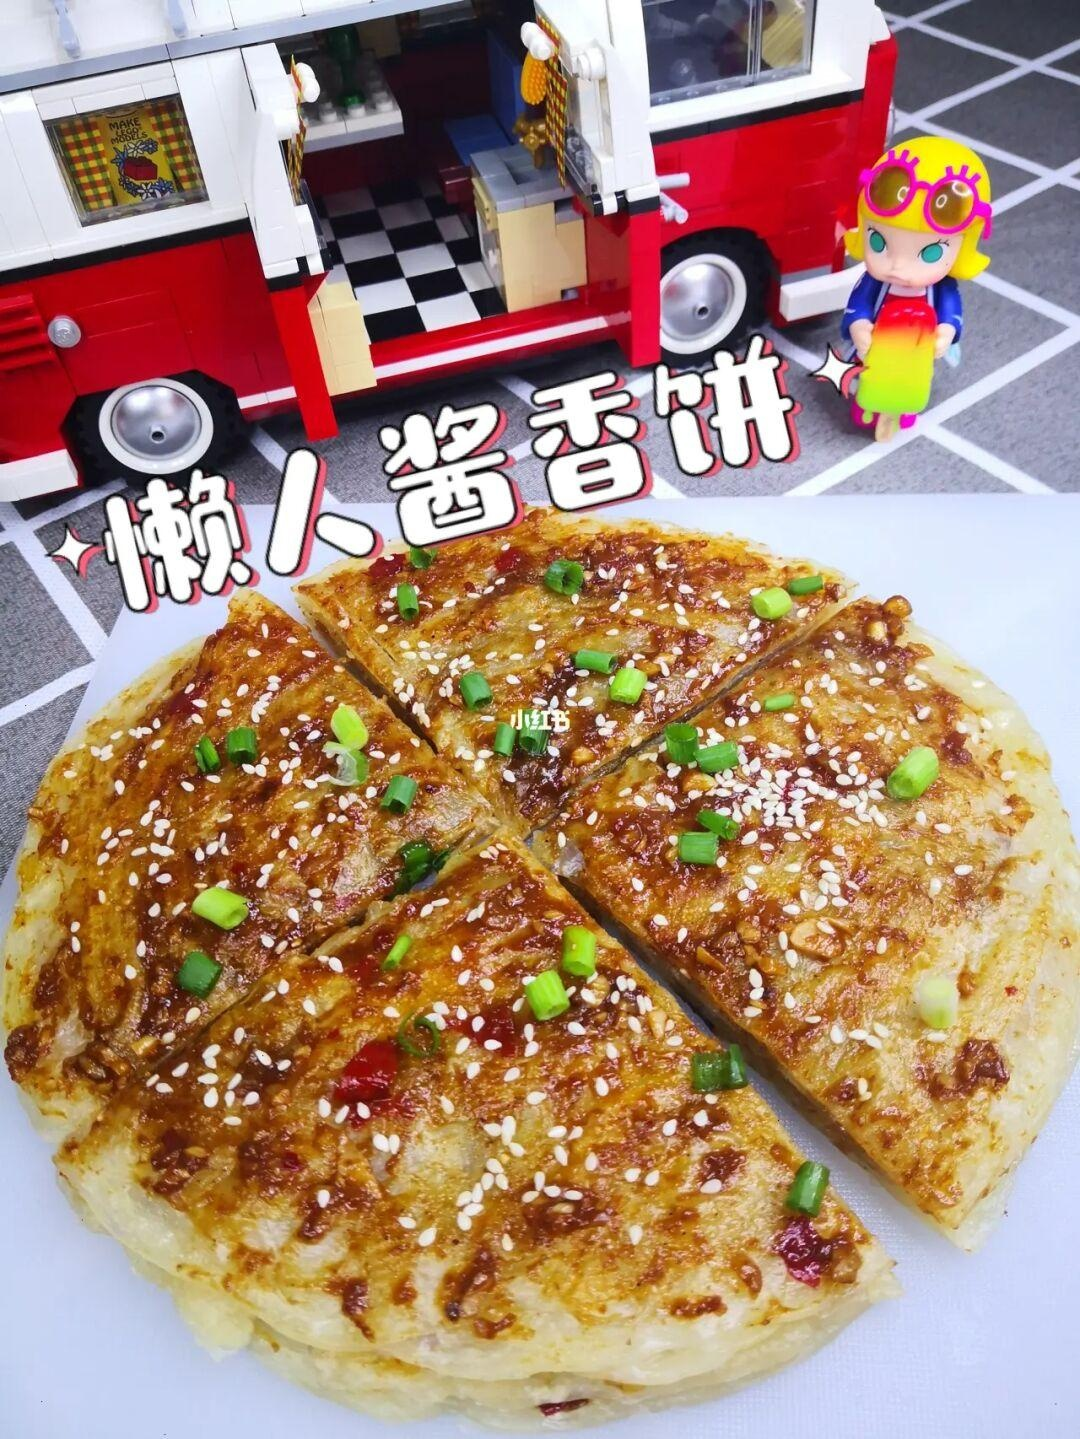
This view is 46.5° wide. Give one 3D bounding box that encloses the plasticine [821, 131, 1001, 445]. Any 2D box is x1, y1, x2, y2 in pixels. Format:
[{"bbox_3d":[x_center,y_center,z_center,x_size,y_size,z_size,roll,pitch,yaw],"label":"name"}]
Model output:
[{"bbox_3d":[1.386,-1.553,4.742,0.471,1.309,0.469,-1,48,9],"label":"plasticine"}]
